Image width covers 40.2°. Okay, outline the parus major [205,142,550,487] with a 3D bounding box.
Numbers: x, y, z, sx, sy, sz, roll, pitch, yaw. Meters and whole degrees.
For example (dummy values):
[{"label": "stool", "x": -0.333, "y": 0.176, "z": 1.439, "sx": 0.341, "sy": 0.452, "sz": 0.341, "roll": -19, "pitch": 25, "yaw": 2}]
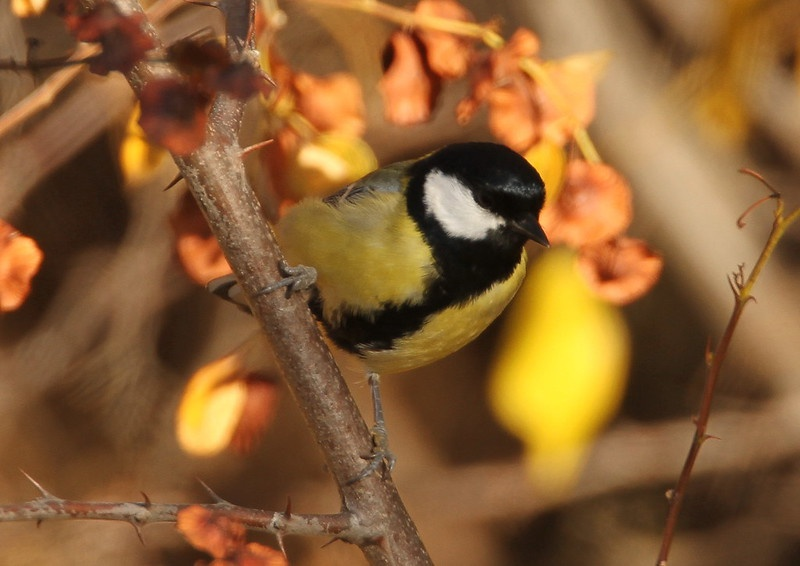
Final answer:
[{"label": "parus major", "x": -0.001, "y": -0.074, "z": 3.291, "sx": 0.707, "sy": 0.721, "sz": 0.436, "roll": -3, "pitch": 36, "yaw": -25}]
